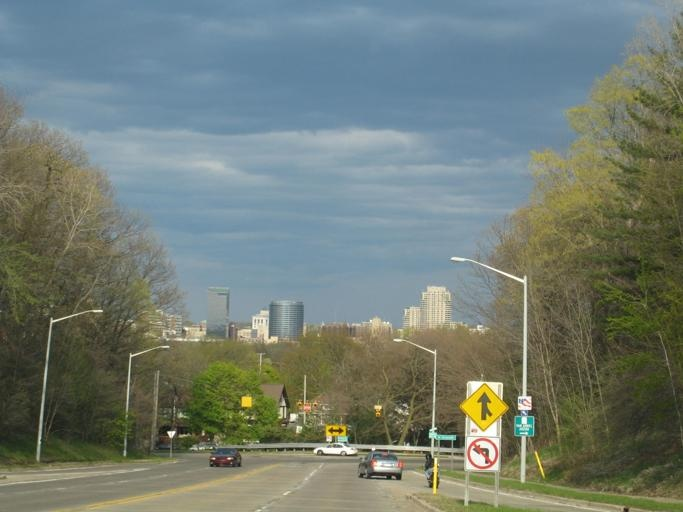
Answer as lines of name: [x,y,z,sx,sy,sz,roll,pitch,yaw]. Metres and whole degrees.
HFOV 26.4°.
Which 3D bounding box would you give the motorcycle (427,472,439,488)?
motorcycle: [6.579,15.543,102.026,0.709,0.926,1.523,3,-2,0]
